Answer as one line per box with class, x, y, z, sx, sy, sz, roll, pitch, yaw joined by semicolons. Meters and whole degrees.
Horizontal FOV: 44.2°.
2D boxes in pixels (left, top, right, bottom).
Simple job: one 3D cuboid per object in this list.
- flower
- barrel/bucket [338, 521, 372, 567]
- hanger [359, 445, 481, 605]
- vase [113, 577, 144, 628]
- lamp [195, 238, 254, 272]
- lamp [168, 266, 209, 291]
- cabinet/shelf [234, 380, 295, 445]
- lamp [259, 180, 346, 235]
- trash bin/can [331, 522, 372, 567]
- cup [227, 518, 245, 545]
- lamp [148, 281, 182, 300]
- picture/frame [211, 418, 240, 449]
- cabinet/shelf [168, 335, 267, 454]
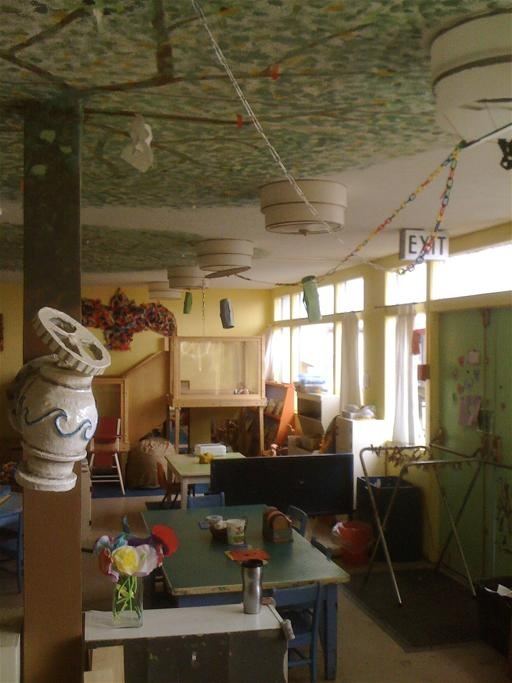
flower;-0.442;0.865;2.342;0.261;0.362;0.218;1;0;23
barrel/bucket;0.866;1.698;5.390;0.339;0.308;0.319;1;3;0
hanger;1.340;1.262;5.206;0.928;1.373;1.107;-1;5;-13
vase;-0.488;1.007;2.399;0.134;0.115;0.211;9;31;-13
lamp;-0.214;-0.604;4.391;0.309;0.119;0.292;0;-4;-2
lamp;-0.686;-0.602;6.106;0.279;0.146;0.264;0;-3;-2
cabinet/shelf;0.143;1.010;8.902;0.350;0.899;1.010;8;-6;-19
lamp;0.230;-0.648;3.044;0.363;0.247;0.338;1;0;-25
trash bin/can;0.815;1.703;5.378;0.356;0.318;0.306;0;3;-2
cup;-0.113;1.097;3.619;0.097;0.128;0.138;-1;-7;3
lamp;-0.993;-0.546;7.079;0.253;0.125;0.247;1;2;31
picture/frame;-0.316;1.389;9.483;0.511;0.461;0.890;4;-9;-19
cabinet/shelf;-0.513;0.684;8.527;1.275;1.539;0.612;1;0;-7
